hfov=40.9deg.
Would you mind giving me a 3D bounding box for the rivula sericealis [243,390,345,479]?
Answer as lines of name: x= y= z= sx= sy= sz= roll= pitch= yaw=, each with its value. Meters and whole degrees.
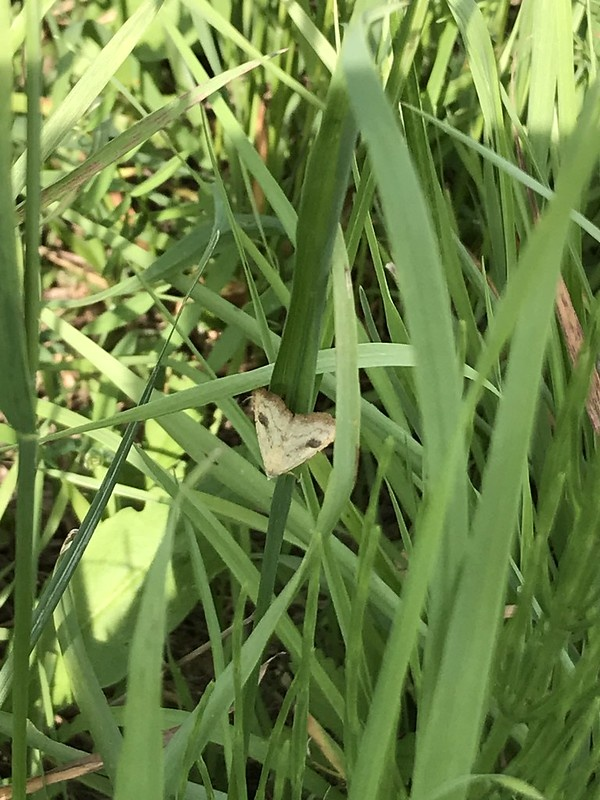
rivula sericealis: x=-0.002 y=0.012 z=0.257 sx=0.025 sy=0.031 sz=0.022 roll=0 pitch=13 yaw=2
